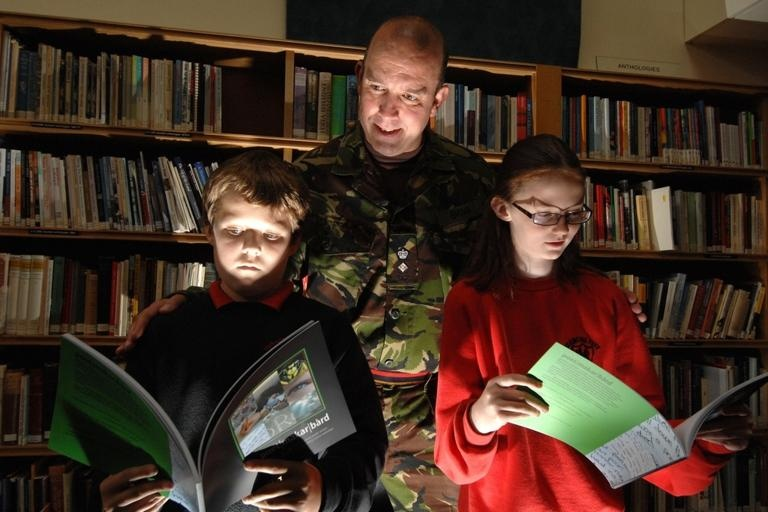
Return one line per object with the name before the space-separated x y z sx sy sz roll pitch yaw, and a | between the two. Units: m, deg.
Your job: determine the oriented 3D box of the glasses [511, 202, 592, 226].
glasses | 0.659 -0.163 2.629 0.303 0.094 0.076 1 2 9
